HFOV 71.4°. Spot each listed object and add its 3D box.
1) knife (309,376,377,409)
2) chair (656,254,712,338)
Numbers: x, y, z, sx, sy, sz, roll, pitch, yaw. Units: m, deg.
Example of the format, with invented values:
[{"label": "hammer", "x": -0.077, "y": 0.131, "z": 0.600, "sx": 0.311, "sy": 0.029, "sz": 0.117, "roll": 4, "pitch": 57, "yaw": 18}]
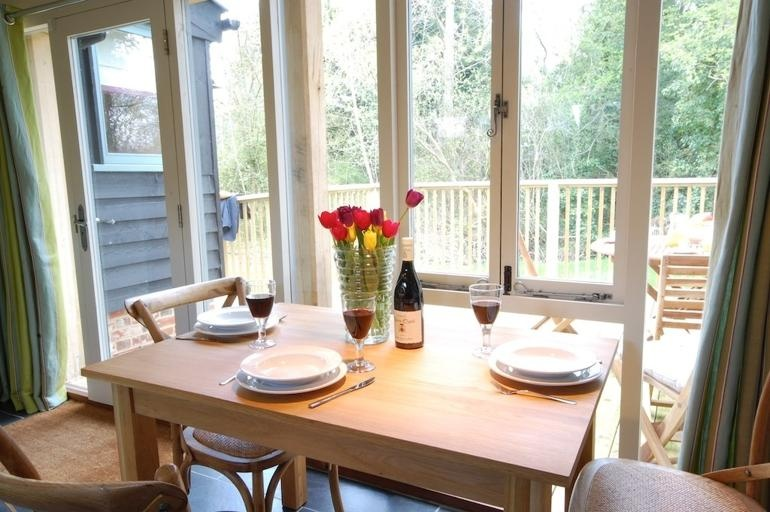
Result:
[{"label": "knife", "x": -0.145, "y": 0.457, "z": 1.776, "sx": 0.244, "sy": 0.019, "sz": 0.032, "roll": -15, "pitch": 29, "yaw": -38}, {"label": "chair", "x": 2.182, "y": 0.312, "z": 3.972, "sx": 0.315, "sy": 0.693, "sz": 0.357, "roll": 5, "pitch": 15, "yaw": 27}]
